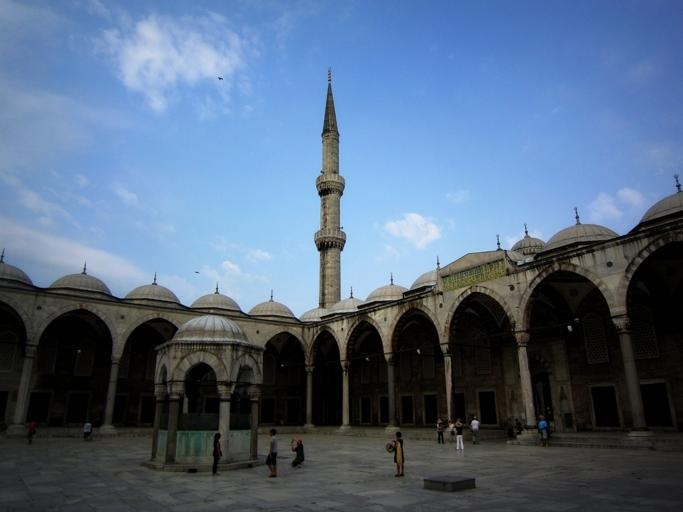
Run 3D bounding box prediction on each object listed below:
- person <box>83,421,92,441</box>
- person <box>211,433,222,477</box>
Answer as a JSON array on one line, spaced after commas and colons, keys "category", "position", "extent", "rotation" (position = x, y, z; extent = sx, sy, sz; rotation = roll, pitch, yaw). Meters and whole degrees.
[{"category": "person", "position": [-10.962, 7.577, 20.582], "extent": [0.220, 0.680, 1.159], "rotation": [8, -23, -21]}, {"category": "person", "position": [-3.351, 5.291, 12.856], "extent": [0.240, 1.041, 0.774], "rotation": [5, -22, -13]}]
